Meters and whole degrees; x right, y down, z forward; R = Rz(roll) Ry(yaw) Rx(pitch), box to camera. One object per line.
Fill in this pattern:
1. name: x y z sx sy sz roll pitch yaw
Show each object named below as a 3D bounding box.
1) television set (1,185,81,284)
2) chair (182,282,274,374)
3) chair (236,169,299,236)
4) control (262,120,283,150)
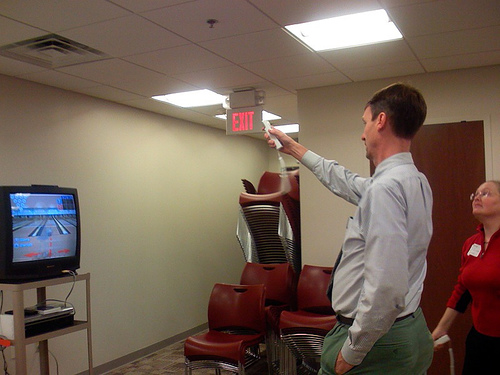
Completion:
1. television set: -1.818 0.390 3.293 0.255 0.812 0.687 -2 -2 24
2. chair: -0.185 1.400 3.891 0.798 1.265 0.945 -3 -11 23
3. chair: 0.250 0.172 5.045 0.701 0.990 0.735 -1 -12 28
4. control: 0.126 -0.315 2.246 0.083 0.200 0.233 -1 -2 -15
